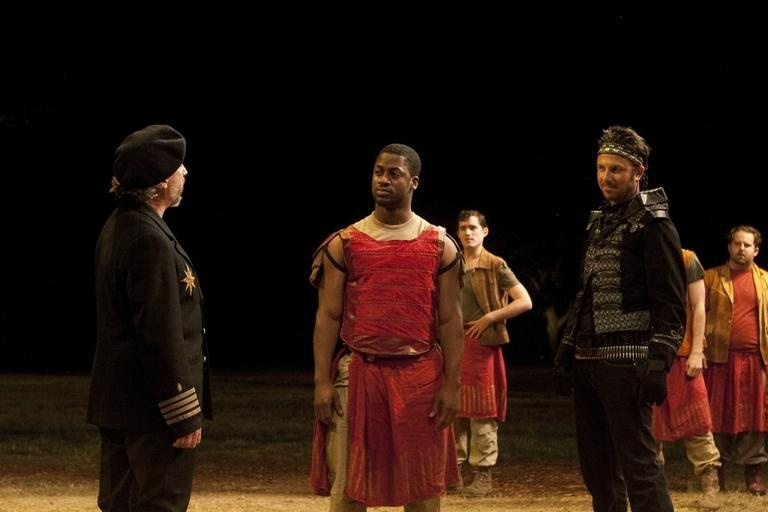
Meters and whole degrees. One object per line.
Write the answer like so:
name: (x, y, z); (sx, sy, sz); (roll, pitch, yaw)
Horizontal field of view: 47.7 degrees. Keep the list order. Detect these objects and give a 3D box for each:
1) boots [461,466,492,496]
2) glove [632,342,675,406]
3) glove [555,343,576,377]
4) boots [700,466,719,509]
boots: (1.069, 2.639, 10.109); (0.340, 0.338, 0.341); (-1, 0, 5)
glove: (2.256, 0.989, 7.202); (0.288, 0.553, 0.243); (-2, 1, -38)
glove: (1.594, 0.930, 7.685); (0.209, 0.272, 0.102); (5, -5, -8)
boots: (3.612, 2.574, 9.632); (0.196, 0.388, 0.508); (-1, 0, 19)
